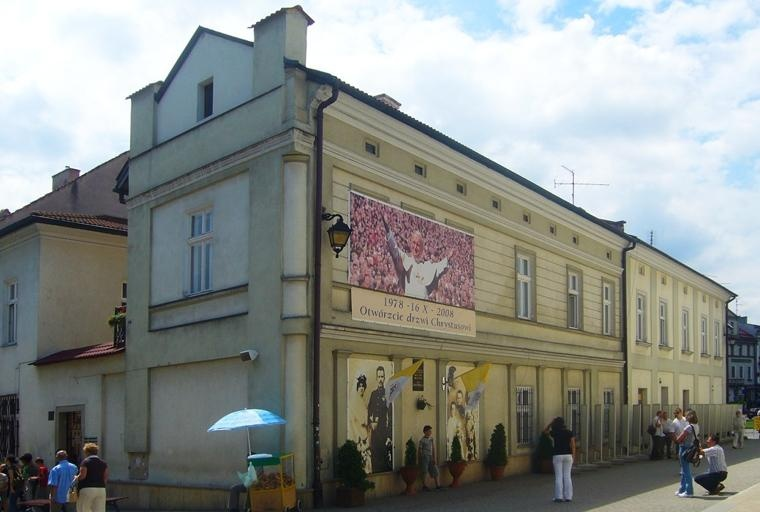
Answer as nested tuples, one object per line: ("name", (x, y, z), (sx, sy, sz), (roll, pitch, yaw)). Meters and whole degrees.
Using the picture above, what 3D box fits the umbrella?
("umbrella", (-3.411, 4.791, 24.727), (1.698, 1.274, 2.024), (-7, -7, 8))

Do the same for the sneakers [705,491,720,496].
("sneakers", (9.883, 6.986, 26.708), (0.372, 0.166, 0.122), (4, -1, 7))

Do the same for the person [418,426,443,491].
("person", (1.515, 6.243, 28.085), (0.472, 1.947, 0.682), (-7, -6, 19))

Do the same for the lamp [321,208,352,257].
("lamp", (-1.123, -0.716, 26.161), (0.858, 1.393, 0.843), (1, -8, -44))

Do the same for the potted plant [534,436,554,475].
("potted plant", (5.932, 7.075, 32.452), (0.751, 1.318, 0.744), (10, -21, -23))

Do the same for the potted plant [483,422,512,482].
("potted plant", (3.888, 6.529, 30.264), (0.736, 1.801, 0.383), (-5, -6, 2))

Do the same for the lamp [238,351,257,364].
("lamp", (-3.801, 2.860, 25.932), (0.553, 0.361, 0.266), (-10, -8, 31))

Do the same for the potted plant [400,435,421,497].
("potted plant", (0.952, 6.345, 27.587), (0.748, 1.677, 0.713), (12, -16, -36))

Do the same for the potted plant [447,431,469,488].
("potted plant", (2.452, 6.522, 29.002), (0.752, 1.573, 0.721), (6, -11, -27))

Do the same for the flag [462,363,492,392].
("flag", (3.090, 3.910, 29.104), (0.932, 0.843, 0.727), (-5, -6, -1))

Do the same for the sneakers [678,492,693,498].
("sneakers", (9.038, 7.023, 26.612), (0.367, 0.186, 0.145), (5, -10, 17))
